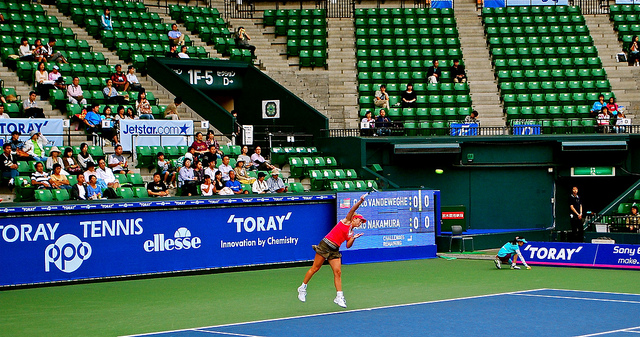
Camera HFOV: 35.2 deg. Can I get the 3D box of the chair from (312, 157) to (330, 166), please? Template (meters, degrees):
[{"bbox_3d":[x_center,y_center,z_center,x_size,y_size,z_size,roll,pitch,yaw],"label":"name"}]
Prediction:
[{"bbox_3d":[0.038,-0.356,50.510,0.526,0.320,0.474,2,-2,-31],"label":"chair"}]

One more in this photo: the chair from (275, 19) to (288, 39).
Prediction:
[{"bbox_3d":[-2.144,-8.128,58.389,1.013,1.139,1.019,0,2,-3],"label":"chair"}]

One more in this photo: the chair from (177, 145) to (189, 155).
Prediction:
[{"bbox_3d":[-6.475,-0.895,48.156,0.504,0.373,0.382,-2,-3,7],"label":"chair"}]

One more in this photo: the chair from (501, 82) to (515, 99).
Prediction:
[{"bbox_3d":[10.405,-4.284,55.306,0.891,0.737,0.809,5,-8,-4],"label":"chair"}]

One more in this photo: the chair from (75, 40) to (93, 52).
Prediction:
[{"bbox_3d":[-12.379,-6.506,53.341,0.687,0.624,0.702,2,-2,-33],"label":"chair"}]

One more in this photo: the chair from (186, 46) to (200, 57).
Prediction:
[{"bbox_3d":[-6.905,-6.389,54.944,0.603,0.637,0.782,0,3,30],"label":"chair"}]

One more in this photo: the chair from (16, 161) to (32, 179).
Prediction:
[{"bbox_3d":[-13.200,0.030,45.201,0.740,0.899,0.714,1,-6,-27],"label":"chair"}]

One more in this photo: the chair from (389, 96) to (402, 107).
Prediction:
[{"bbox_3d":[4.084,-3.585,53.910,0.609,0.589,0.643,-1,3,3],"label":"chair"}]

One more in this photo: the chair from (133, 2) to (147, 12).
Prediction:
[{"bbox_3d":[-10.152,-9.118,57.068,0.663,0.547,0.616,3,-8,-44],"label":"chair"}]

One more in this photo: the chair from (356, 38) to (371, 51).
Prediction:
[{"bbox_3d":[2.553,-7.133,57.571,0.706,0.399,0.651,0,4,-3],"label":"chair"}]

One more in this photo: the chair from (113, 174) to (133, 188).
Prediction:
[{"bbox_3d":[-8.767,0.558,45.340,0.678,0.742,0.646,-5,-6,43],"label":"chair"}]

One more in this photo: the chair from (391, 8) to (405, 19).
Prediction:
[{"bbox_3d":[4.664,-9.178,59.566,0.807,0.621,0.644,-2,3,-7],"label":"chair"}]

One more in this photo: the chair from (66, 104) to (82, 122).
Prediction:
[{"bbox_3d":[-11.816,-2.689,48.841,0.734,0.856,0.611,-2,3,-13],"label":"chair"}]

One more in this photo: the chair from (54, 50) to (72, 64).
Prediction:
[{"bbox_3d":[-13.218,-5.808,51.971,0.800,0.700,1.145,-4,4,-39],"label":"chair"}]

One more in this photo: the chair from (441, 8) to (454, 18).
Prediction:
[{"bbox_3d":[7.638,-9.241,59.857,0.731,0.601,0.720,-1,3,6],"label":"chair"}]

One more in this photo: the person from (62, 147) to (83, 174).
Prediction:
[{"bbox_3d":[-10.984,-0.346,44.998,0.826,1.180,0.476,-2,3,-13],"label":"person"}]

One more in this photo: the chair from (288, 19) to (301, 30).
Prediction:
[{"bbox_3d":[-1.396,-8.351,58.334,0.728,0.556,0.514,-1,3,-1],"label":"chair"}]

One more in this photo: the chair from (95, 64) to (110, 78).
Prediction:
[{"bbox_3d":[-11.080,-5.019,51.971,0.678,0.585,0.666,1,1,-25],"label":"chair"}]

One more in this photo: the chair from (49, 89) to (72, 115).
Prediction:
[{"bbox_3d":[-12.643,-3.351,49.915,1.286,1.240,1.095,3,4,45],"label":"chair"}]

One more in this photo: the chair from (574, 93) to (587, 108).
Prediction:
[{"bbox_3d":[14.150,-3.718,54.533,0.739,0.822,0.734,1,-3,6],"label":"chair"}]

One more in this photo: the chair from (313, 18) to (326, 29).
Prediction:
[{"bbox_3d":[0.042,-8.439,58.546,0.713,0.710,1.012,-1,3,2],"label":"chair"}]

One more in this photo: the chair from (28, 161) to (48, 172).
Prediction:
[{"bbox_3d":[-12.472,-0.067,44.962,0.672,0.555,0.544,3,-11,-30],"label":"chair"}]

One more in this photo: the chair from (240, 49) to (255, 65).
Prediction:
[{"bbox_3d":[-3.948,-6.238,55.900,0.648,0.812,0.823,-3,3,-31],"label":"chair"}]

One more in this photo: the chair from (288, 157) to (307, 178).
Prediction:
[{"bbox_3d":[-1.081,-0.057,49.890,1.028,0.995,0.914,1,-3,-17],"label":"chair"}]

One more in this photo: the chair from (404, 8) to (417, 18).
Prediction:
[{"bbox_3d":[5.399,-9.211,59.646,0.696,0.484,0.416,-1,3,0],"label":"chair"}]

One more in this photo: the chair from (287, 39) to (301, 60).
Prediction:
[{"bbox_3d":[-1.654,-6.817,57.324,0.934,1.026,0.887,1,3,2],"label":"chair"}]

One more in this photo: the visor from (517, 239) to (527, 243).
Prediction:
[{"bbox_3d":[9.073,3.237,44.886,0.199,0.248,0.973,0,3,23],"label":"visor"}]

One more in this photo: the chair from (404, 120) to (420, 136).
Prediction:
[{"bbox_3d":[4.808,-2.097,52.409,0.824,0.524,0.733,0,1,-5],"label":"chair"}]

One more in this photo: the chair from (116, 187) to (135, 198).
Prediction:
[{"bbox_3d":[-8.560,1.061,44.792,0.596,0.522,0.503,3,-7,-45],"label":"chair"}]

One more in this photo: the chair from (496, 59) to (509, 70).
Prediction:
[{"bbox_3d":[10.271,-5.840,56.419,0.609,0.500,0.412,2,14,5],"label":"chair"}]

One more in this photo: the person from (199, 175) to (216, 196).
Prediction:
[{"bbox_3d":[-4.885,0.708,44.974,0.717,0.841,0.428,-2,3,-19],"label":"person"}]

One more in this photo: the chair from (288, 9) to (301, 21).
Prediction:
[{"bbox_3d":[-1.423,-8.990,59.108,0.668,0.549,0.579,2,27,-1],"label":"chair"}]

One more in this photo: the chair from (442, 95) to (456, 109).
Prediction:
[{"bbox_3d":[6.989,-3.594,54.031,0.732,0.619,0.510,0,-5,-3],"label":"chair"}]

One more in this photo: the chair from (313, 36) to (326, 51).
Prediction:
[{"bbox_3d":[0.093,-7.129,57.370,0.866,0.547,0.795,0,9,-2],"label":"chair"}]

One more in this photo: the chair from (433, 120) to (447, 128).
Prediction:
[{"bbox_3d":[6.292,-2.265,52.354,0.754,0.261,0.257,-1,3,-3],"label":"chair"}]

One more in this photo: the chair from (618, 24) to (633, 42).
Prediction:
[{"bbox_3d":[17.873,-7.979,58.842,0.805,0.915,1.101,-1,3,16],"label":"chair"}]

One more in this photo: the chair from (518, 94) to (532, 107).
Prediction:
[{"bbox_3d":[11.192,-3.690,54.752,0.942,0.812,0.650,0,-4,4],"label":"chair"}]

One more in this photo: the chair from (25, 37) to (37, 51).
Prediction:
[{"bbox_3d":[-14.752,-6.475,51.952,0.467,0.708,1.554,-2,3,-15],"label":"chair"}]

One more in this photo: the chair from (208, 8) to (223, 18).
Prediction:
[{"bbox_3d":[-6.003,-9.080,58.674,0.800,0.685,1.285,-2,3,-4],"label":"chair"}]

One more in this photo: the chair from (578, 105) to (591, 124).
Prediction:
[{"bbox_3d":[14.101,-3.041,53.654,0.657,0.707,0.614,1,-4,5],"label":"chair"}]

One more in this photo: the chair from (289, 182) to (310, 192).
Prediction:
[{"bbox_3d":[-0.996,0.898,48.299,0.513,0.596,0.479,1,-4,-21],"label":"chair"}]

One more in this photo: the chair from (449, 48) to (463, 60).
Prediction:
[{"bbox_3d":[7.698,-6.468,56.874,0.683,0.647,0.822,-1,3,5],"label":"chair"}]

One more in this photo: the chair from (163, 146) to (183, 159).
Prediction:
[{"bbox_3d":[-6.944,-0.777,48.134,0.688,0.776,0.711,3,-5,-41],"label":"chair"}]

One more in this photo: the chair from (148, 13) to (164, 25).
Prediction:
[{"bbox_3d":[-9.158,-8.462,56.789,0.781,0.677,0.970,-2,3,-20],"label":"chair"}]

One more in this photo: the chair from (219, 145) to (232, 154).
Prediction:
[{"bbox_3d":[-4.504,-0.924,48.863,0.615,0.369,0.357,0,9,-15],"label":"chair"}]

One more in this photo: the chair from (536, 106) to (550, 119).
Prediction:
[{"bbox_3d":[11.840,-2.965,53.802,0.907,0.745,0.609,0,-6,2],"label":"chair"}]

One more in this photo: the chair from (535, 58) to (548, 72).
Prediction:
[{"bbox_3d":[12.395,-5.828,56.210,0.707,0.613,0.408,-1,3,5],"label":"chair"}]

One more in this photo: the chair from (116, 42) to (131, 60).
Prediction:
[{"bbox_3d":[-10.362,-6.252,53.661,0.691,0.911,0.626,-2,3,-17],"label":"chair"}]

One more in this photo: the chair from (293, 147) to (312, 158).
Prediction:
[{"bbox_3d":[-0.787,-0.805,50.965,0.584,0.602,0.573,2,-5,-19],"label":"chair"}]

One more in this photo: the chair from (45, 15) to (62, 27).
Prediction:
[{"bbox_3d":[-14.264,-7.949,54.219,0.805,0.761,1.223,-2,3,-16],"label":"chair"}]

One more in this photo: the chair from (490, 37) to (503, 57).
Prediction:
[{"bbox_3d":[10.178,-7.212,57.866,0.732,0.683,0.613,-1,3,6],"label":"chair"}]

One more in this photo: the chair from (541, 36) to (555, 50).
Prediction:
[{"bbox_3d":[13.089,-7.238,57.658,0.733,0.579,0.472,-1,3,11],"label":"chair"}]

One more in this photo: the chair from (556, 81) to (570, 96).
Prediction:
[{"bbox_3d":[13.269,-4.432,54.874,0.693,0.603,0.456,-1,3,12],"label":"chair"}]

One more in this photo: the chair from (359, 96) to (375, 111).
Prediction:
[{"bbox_3d":[2.585,-3.494,54.148,0.921,0.727,0.649,1,8,7],"label":"chair"}]

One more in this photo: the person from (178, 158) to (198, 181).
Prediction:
[{"bbox_3d":[-5.923,0.050,45.536,0.840,1.023,0.479,-2,3,-8],"label":"person"}]

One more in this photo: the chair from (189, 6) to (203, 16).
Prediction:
[{"bbox_3d":[-7.070,-9.054,57.930,0.633,0.716,0.651,-3,8,-33],"label":"chair"}]

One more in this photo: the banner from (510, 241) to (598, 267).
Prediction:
[{"bbox_3d":[10.901,3.794,45.176,3.690,0.972,1.103,-1,16,40],"label":"banner"}]

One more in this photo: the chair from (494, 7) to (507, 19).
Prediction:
[{"bbox_3d":[10.856,-9.377,60.295,0.701,0.456,0.654,2,-3,7],"label":"chair"}]
